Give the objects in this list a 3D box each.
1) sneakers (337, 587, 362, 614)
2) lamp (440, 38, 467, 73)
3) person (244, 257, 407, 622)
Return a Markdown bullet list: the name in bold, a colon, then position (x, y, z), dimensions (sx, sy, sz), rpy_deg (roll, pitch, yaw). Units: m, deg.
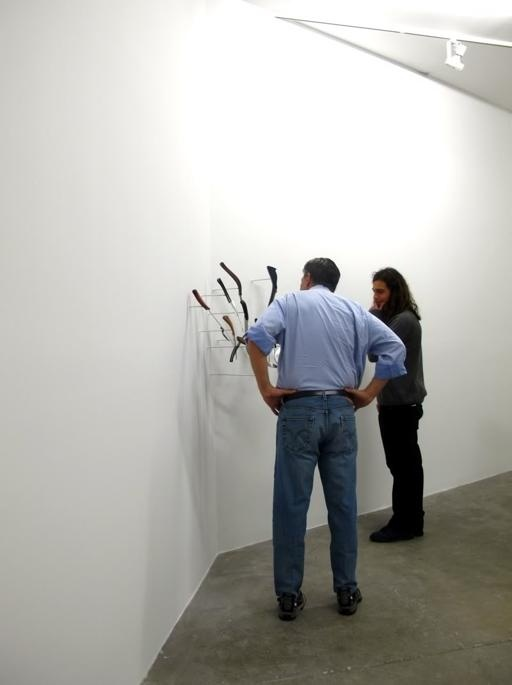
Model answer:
- **sneakers**: position (0.294, 0.831, 1.852), dimensions (0.038, 0.054, 0.113), rpy_deg (-4, 5, 12)
- **lamp**: position (0.878, -1.268, 2.552), dimensions (0.084, 0.165, 0.061), rpy_deg (-3, 1, 27)
- **person**: position (0.224, 0.277, 2.031), dimensions (0.364, 0.931, 0.546), rpy_deg (-2, 2, 43)
